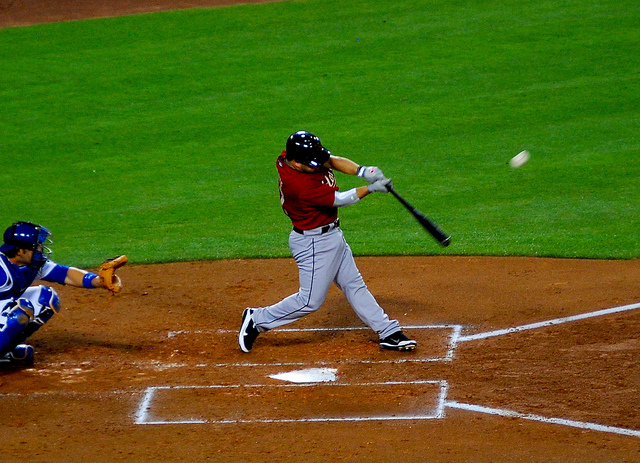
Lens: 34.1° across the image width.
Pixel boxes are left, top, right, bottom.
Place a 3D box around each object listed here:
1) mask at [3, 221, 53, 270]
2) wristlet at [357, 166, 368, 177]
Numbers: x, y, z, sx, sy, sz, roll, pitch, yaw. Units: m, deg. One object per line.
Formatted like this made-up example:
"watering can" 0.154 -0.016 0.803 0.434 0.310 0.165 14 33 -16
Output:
"mask" -3.775 0.170 13.516 0.960 0.533 0.562 1 10 -12
"wristlet" 0.526 -0.769 13.425 0.172 0.117 0.115 13 11 -2
